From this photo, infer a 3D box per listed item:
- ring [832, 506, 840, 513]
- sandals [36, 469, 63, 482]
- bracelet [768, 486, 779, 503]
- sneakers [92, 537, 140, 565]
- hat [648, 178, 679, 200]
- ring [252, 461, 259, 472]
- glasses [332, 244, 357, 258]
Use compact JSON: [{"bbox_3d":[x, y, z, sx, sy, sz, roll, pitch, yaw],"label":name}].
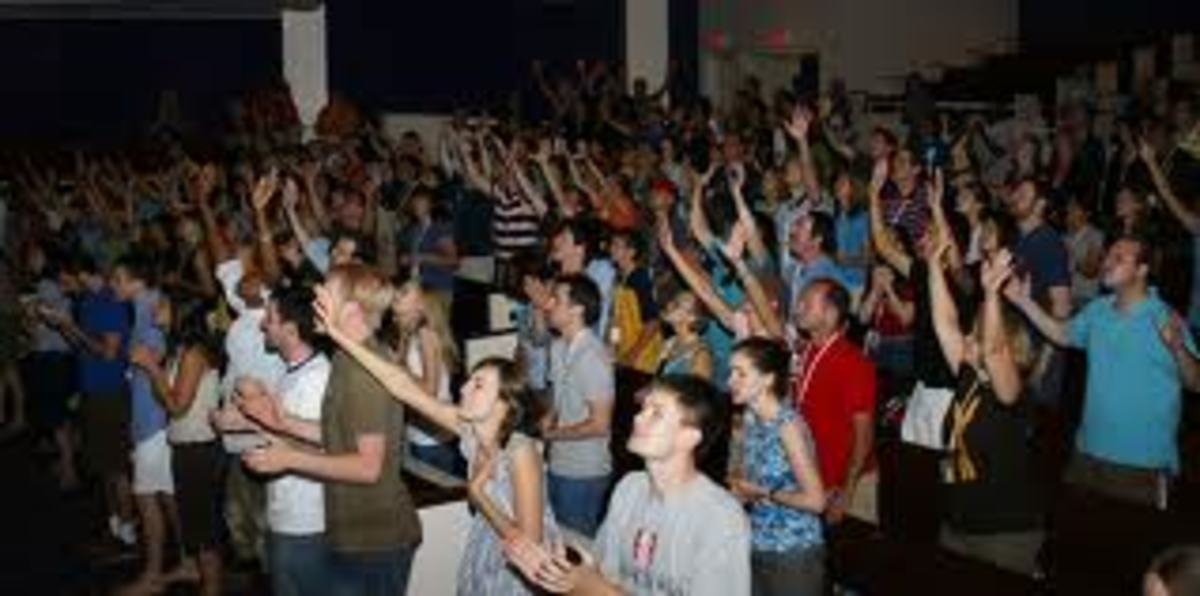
[{"bbox_3d":[2.206,1.981,7.535,0.062,0.054,0.018,-2,5,1],"label":"ring"},{"bbox_3d":[-7.357,2.391,10.779,0.150,0.094,0.298,6,-2,8],"label":"sandals"},{"bbox_3d":[1.487,1.705,6.956,0.063,0.100,0.080,-15,-20,17],"label":"bracelet"},{"bbox_3d":[-5.713,3.000,9.583,0.545,0.217,0.206,-2,11,-30],"label":"sneakers"},{"bbox_3d":[0.963,-1.663,11.983,0.459,0.231,0.309,32,0,-17],"label":"hat"},{"bbox_3d":[-2.849,1.399,6.682,0.060,0.074,0.027,1,25,2],"label":"ring"},{"bbox_3d":[-2.889,-0.553,9.058,0.190,0.053,0.179,-14,19,-30],"label":"glasses"}]
